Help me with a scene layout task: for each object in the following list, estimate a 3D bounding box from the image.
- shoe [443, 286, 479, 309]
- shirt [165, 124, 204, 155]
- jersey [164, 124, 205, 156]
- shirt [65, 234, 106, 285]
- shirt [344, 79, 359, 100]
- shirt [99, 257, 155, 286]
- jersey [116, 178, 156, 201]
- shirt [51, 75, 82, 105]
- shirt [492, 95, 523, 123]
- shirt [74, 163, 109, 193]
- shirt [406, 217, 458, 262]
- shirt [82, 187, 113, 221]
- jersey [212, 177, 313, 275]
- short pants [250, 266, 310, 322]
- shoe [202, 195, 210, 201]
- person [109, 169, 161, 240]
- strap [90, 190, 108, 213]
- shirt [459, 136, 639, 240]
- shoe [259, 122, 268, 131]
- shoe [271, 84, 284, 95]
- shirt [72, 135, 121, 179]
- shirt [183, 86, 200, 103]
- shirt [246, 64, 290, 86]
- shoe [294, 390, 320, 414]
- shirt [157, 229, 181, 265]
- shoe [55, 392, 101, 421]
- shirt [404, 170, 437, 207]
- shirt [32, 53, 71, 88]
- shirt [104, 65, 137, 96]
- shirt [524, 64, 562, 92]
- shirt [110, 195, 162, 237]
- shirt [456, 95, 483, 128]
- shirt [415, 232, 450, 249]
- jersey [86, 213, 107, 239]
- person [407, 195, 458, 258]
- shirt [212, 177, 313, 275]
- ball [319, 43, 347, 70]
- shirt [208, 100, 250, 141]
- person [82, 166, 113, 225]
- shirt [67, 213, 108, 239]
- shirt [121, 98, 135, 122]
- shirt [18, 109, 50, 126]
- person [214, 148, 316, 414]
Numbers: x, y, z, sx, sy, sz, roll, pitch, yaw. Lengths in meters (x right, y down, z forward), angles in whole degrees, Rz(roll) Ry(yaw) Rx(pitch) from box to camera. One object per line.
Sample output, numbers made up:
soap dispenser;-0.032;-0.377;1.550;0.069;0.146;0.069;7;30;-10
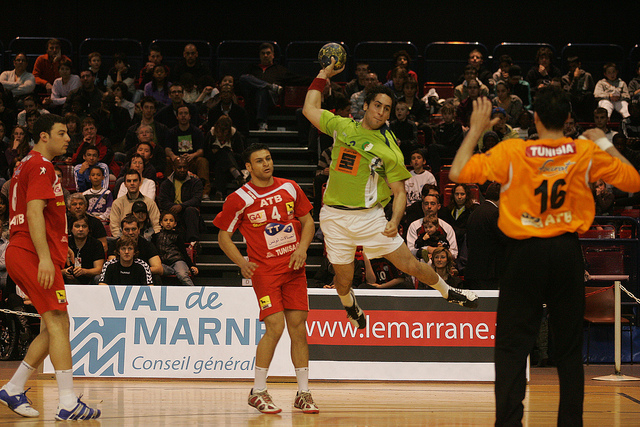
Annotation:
shoe;2.089;1.226;12.431;0.605;0.240;0.203;15;47;-4
shirt;-2.784;-1.505;17.484;0.962;0.699;0.433;-4;17;-27
jersey;-2.790;-1.538;17.489;0.913;0.646;0.371;-4;19;-23
shirt;-3.932;0.789;14.220;0.916;0.988;0.573;3;-4;-14
shirt;0.712;-2.779;18.992;0.324;0.445;0.431;0;6;2
shirt;-3.179;0.985;13.940;0.923;0.564;0.474;3;31;-17
jersey;-3.427;-0.454;16.131;0.658;0.676;0.406;1;-16;-3
shirt;-6.101;-2.953;20.108;0.640;0.720;0.785;0;9;2
shirt;4.065;-2.331;19.005;0.687;0.586;0.375;12;20;5
shirt;-4.361;-0.709;16.554;1.016;0.546;0.568;5;8;40
shirt;1.970;0.400;15.065;0.667;0.811;0.330;-4;-20;18
shirt;-4.206;-0.171;16.036;0.697;0.601;0.381;7;11;18
jersey;-0.738;0.188;11.703;1.635;1.371;0.585;-11;14;-34
short pants;-0.563;1.026;11.613;0.834;0.645;0.458;-11;-1;-20
shoe;-2.231;-0.313;16.753;0.108;0.098;0.088;4;4;41
person;-3.357;-0.130;15.526;1.019;1.277;0.924;-2;4;-10
strap;-4.143;-0.239;16.045;0.324;0.383;0.049;-6;9;-44
shirt;3.002;-0.290;11.407;2.131;1.115;0.556;0;6;2
shoe;-1.231;-1.914;18.681;0.176;0.186;0.182;-1;-1;42
shoe;-0.938;-2.771;18.967;0.199;0.212;0.376;1;6;8
shirt;-4.539;-1.216;17.419;0.816;0.984;0.459;5;-17;-10
shirt;-2.837;-2.652;18.962;0.428;0.362;0.274;-4;7;-28
shirt;-1.147;-3.093;19.085;0.754;0.353;0.250;13;-19;-4
shoe;-0.181;2.487;11.372;0.375;0.271;0.262;1;6;9
shirt;-2.672;0.561;15.076;0.496;0.589;0.358;0;18;4
shoe;-3.087;2.532;11.127;0.701;0.386;0.220;-1;-3;-11
shirt;1.898;-0.558;16.504;0.705;0.704;0.398;-2;36;2
shirt;-6.507;-3.341;20.859;0.975;1.101;0.667;-9;8;-22
shirt;-4.660;-3.209;20.073;0.741;0.861;0.897;0;-4;-1
shirt;5.394;-3.304;20.781;0.766;0.708;1.376;3;7;31
shirt;-3.430;-0.010;15.770;0.712;0.583;0.881;0;0;-10
shirt;3.277;-2.274;19.100;0.259;0.555;0.746;-35;2;30
shirt;1.970;0.468;14.783;0.336;0.276;0.667;-5;8;-40
jersey;-3.924;0.225;14.948;0.472;0.409;0.243;-3;-6;-20
person;1.974;0.308;15.010;0.946;1.296;0.847;-1;-2;22
shirt;-0.816;0.240;12.261;1.886;1.443;0.641;-9;1;-14
ball;0.183;-2.235;12.142;0.365;0.374;0.280;-1;6;-3
shirt;-1.977;-2.034;18.427;0.887;0.845;0.550;0;6;0
person;-4.238;-0.334;15.990;0.814;1.097;0.759;1;9;-15
shirt;-4.016;0.218;14.648;0.494;0.354;0.155;0;-7;-9
shirt;-4.242;-2.299;18.900;0.377;0.424;0.178;2;-15;-16
shirt;-6.388;-2.161;19.003;0.625;0.340;0.845;-2;6;-21
person;-0.678;0.868;11.448;1.184;3.483;0.831;-1;7;-2
